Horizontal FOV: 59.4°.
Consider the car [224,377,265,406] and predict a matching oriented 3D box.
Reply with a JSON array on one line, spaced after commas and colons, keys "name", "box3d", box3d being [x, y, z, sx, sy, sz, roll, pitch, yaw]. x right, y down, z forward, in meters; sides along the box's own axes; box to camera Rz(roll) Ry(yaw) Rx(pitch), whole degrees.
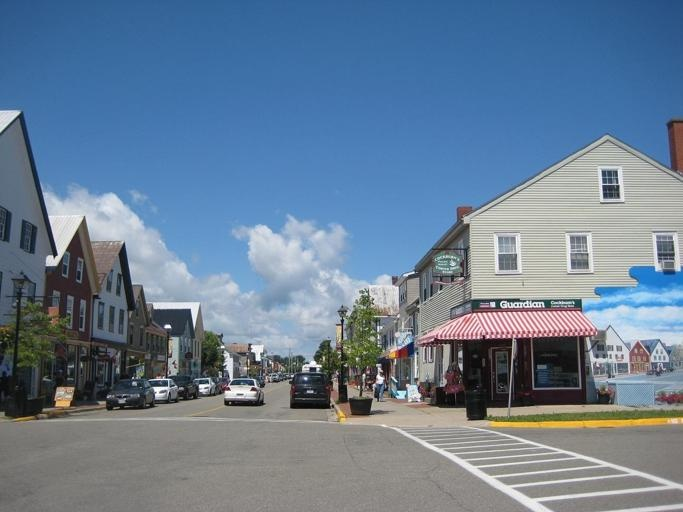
[{"name": "car", "box3d": [-5.921, 8.392, 36.844, 2.171, 1.877, 2.909, -2, -18, 11]}]

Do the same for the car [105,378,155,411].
[{"name": "car", "box3d": [-11.850, 7.764, 33.613, 2.184, 1.846, 2.123, 4, -17, -11]}]

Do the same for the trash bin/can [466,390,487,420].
[{"name": "trash bin/can", "box3d": [5.282, 5.831, 23.442, 0.940, 1.188, 1.030, 1, -10, -5]}]

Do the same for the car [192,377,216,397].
[{"name": "car", "box3d": [-11.675, 11.345, 51.894, 1.086, 0.974, 2.615, -1, -15, 0]}]
